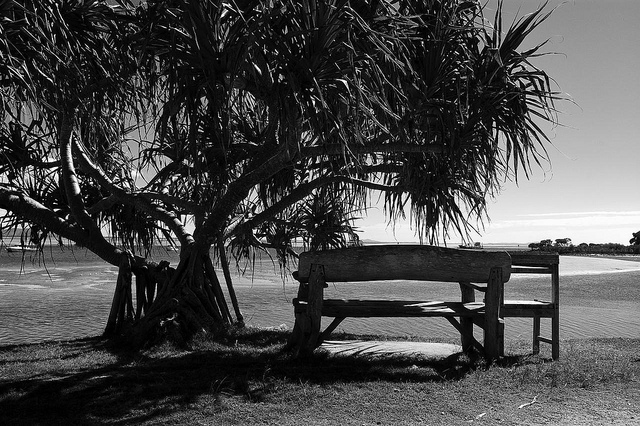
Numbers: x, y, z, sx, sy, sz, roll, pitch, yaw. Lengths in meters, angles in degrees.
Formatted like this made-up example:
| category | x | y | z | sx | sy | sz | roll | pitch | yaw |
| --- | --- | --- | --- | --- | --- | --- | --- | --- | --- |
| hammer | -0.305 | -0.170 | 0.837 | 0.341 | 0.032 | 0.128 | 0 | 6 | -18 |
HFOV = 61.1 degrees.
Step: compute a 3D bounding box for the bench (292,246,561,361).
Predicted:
| category | x | y | z | sx | sy | sz | roll | pitch | yaw |
| --- | --- | --- | --- | --- | --- | --- | --- | --- | --- |
| bench | 1.465 | 1.190 | 7.599 | 3.227 | 1.479 | 3.076 | -2 | -5 | 9 |
